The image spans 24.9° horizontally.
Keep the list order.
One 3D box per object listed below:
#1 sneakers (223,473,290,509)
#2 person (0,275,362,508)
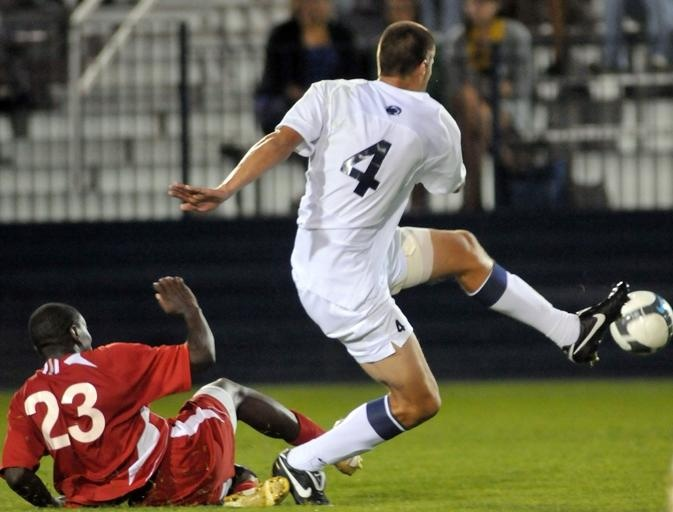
[{"bbox_3d":[-0.457,1.361,8.567,0.271,0.094,0.178,-20,15,-19],"label":"sneakers"},{"bbox_3d":[-1.001,0.903,8.621,1.339,0.963,1.302,-17,-14,38],"label":"person"}]
